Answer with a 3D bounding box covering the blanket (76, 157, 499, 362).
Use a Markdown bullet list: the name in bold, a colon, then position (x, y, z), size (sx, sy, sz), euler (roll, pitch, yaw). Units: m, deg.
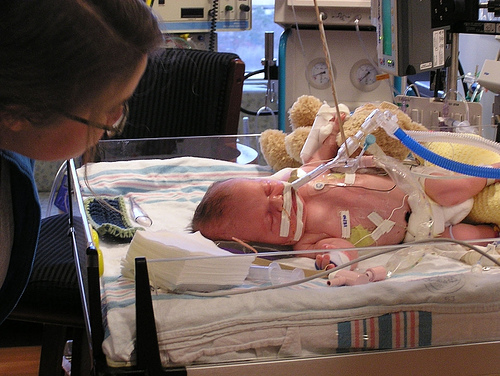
- **blanket**: position (0.072, 0.190, 1.079), size (0.630, 0.132, 0.646), euler (-3, 14, -19)
